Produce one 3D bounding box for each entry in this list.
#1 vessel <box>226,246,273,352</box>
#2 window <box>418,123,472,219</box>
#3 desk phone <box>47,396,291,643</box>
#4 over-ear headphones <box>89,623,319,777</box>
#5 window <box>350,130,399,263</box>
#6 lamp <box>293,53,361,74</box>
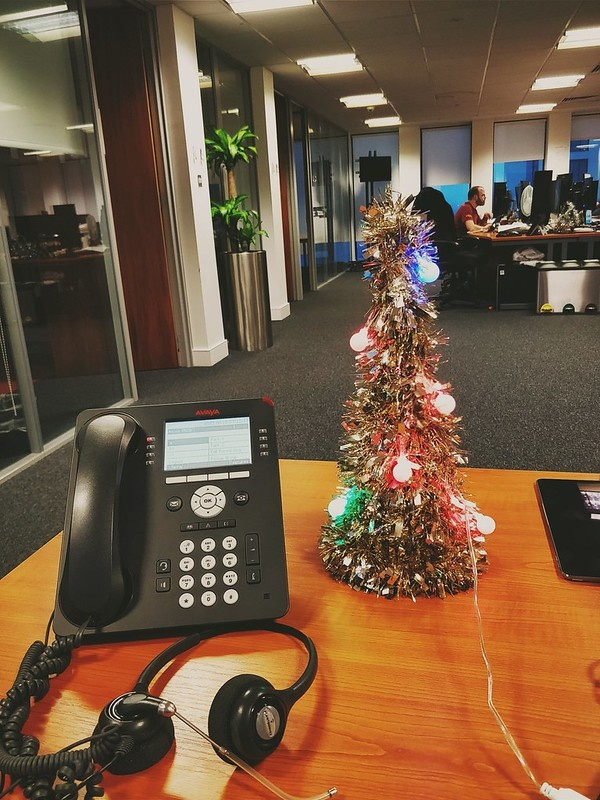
[{"bbox_3d":[-0.521,-0.938,5.596,0.508,0.865,0.487,-2,23,2],"label":"vessel"},{"bbox_3d":[3.084,-4.833,12.833,1.096,1.892,0.078,2,35,17],"label":"window"},{"bbox_3d":[-0.104,0.095,0.546,0.203,0.206,0.063,0,-16,-12],"label":"desk phone"},{"bbox_3d":[-0.057,0.197,0.435,0.128,0.060,0.167,-2,17,12],"label":"over-ear headphones"},{"bbox_3d":[1.692,-4.561,13.592,1.069,2.818,0.039,0,45,7],"label":"window"},{"bbox_3d":[0.320,-3.585,6.428,0.429,0.083,0.379,0,10,7],"label":"lamp"}]
